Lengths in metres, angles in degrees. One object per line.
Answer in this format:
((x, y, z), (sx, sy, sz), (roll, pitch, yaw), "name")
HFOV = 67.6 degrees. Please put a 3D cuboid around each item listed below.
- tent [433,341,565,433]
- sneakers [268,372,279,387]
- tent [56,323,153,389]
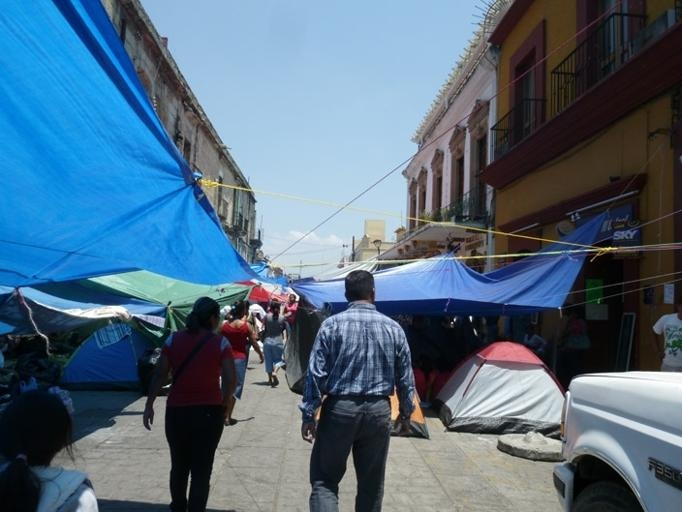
((2.542, 2.131, 7.865), (1.430, 0.980, 1.411), (3, -2, -38), "tent")
((-1.402, 2.604, 10.595), (0.122, 0.163, 0.387), (0, -35, -1), "sneakers")
((-4.322, 1.798, 9.534), (1.227, 0.620, 1.285), (-2, -7, 34), "tent")
